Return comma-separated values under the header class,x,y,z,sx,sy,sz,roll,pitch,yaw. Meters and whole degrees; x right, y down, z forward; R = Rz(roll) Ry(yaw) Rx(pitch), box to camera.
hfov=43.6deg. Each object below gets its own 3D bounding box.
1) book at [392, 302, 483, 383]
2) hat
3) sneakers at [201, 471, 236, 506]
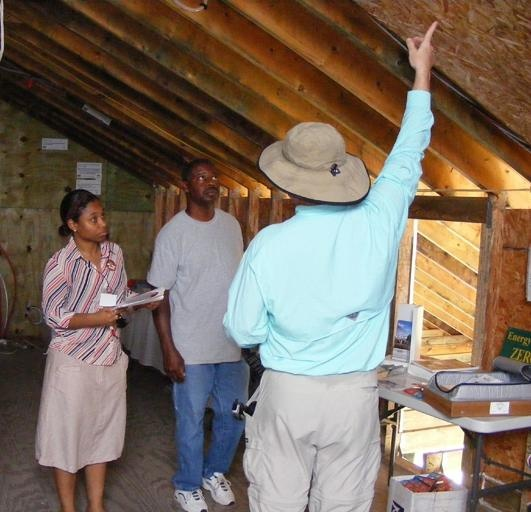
class,x,y,z,sx,sy,sz,roll,pitch,yaw
book,0.695,0.378,2.935,0.363,0.318,0.365,1,2,-17
hat,0.140,-0.258,1.861,0.303,0.117,0.267,-11,45,-18
sneakers,-0.222,1.099,3.129,0.090,0.077,0.195,-4,17,-45
